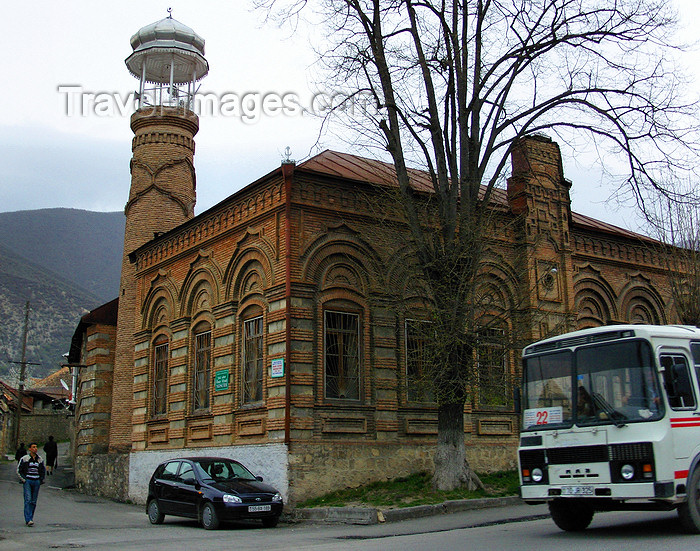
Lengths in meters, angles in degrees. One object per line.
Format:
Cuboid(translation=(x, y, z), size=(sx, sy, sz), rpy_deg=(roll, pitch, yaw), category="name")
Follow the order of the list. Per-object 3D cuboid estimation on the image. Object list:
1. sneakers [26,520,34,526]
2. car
Cuboid(translation=(-8.411, 6.532, 18.540), size=(0.135, 0.156, 0.359), rpy_deg=(6, -16, -29), category="sneakers")
Cuboid(translation=(-3.528, 5.698, 18.568), size=(1.863, 1.335, 3.633), rpy_deg=(14, -21, -40), category="car")
